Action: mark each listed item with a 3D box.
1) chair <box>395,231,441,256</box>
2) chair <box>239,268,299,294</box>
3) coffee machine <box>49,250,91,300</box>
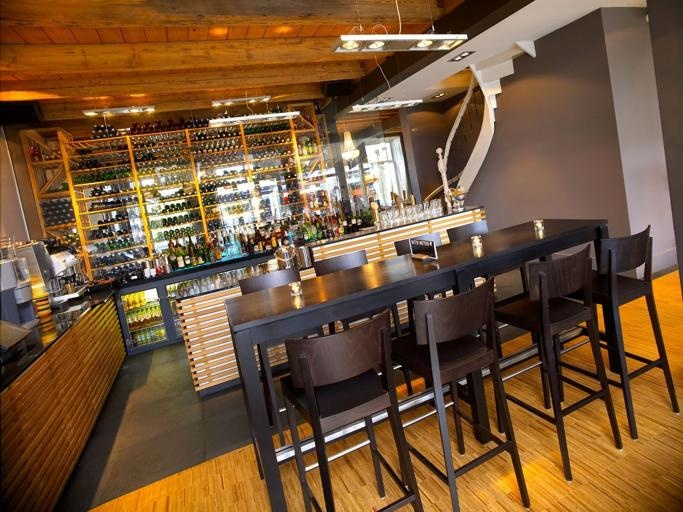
[{"bbox_3d":[0.740,-0.120,4.614,0.323,0.219,0.339,-1,-3,8],"label":"chair"},{"bbox_3d":[-0.704,0.231,4.417,0.322,0.244,0.335,-6,4,23],"label":"chair"},{"bbox_3d":[-3.555,0.265,6.081,0.301,0.427,0.603,-1,7,-13],"label":"coffee machine"}]
